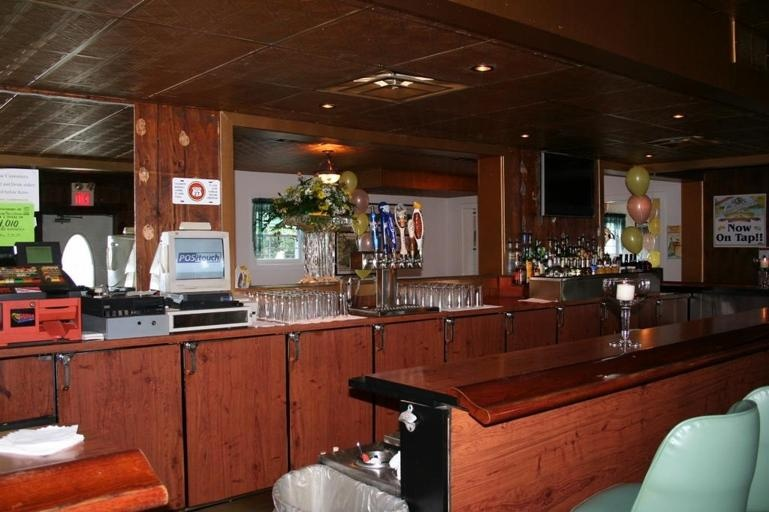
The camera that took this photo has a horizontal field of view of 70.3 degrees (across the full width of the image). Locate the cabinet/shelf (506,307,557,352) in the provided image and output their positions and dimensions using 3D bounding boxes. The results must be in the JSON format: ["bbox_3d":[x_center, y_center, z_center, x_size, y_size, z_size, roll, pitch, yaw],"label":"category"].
[{"bbox_3d":[1.591,0.870,5.998,0.329,0.507,0.578,-8,-12,16],"label":"cabinet/shelf"}]

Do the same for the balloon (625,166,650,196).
[{"bbox_3d":[3.544,-1.069,7.679,0.263,0.415,0.339,-1,2,28],"label":"balloon"}]

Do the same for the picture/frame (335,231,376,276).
[{"bbox_3d":[-0.479,-0.039,8.016,0.486,0.831,0.906,-1,1,-23],"label":"picture/frame"}]

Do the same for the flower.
[{"bbox_3d":[-0.747,-0.506,5.610,0.730,0.441,0.721,-2,1,-11],"label":"flower"}]

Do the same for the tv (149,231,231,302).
[{"bbox_3d":[-1.410,0.008,4.429,0.656,0.493,0.676,-3,4,-22],"label":"tv"}]

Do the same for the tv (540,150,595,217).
[{"bbox_3d":[2.563,-1.016,7.722,1.040,0.929,0.106,-2,4,-26],"label":"tv"}]

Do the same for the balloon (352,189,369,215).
[{"bbox_3d":[-0.362,-0.767,7.693,0.330,0.355,0.317,0,-1,-9],"label":"balloon"}]
